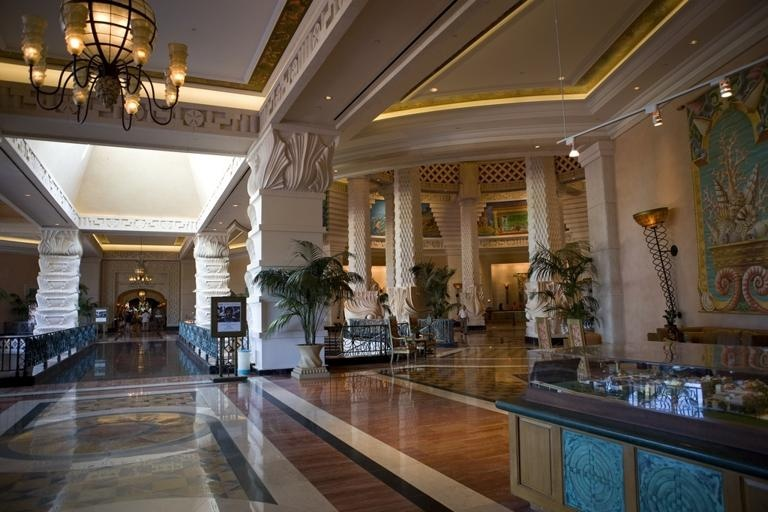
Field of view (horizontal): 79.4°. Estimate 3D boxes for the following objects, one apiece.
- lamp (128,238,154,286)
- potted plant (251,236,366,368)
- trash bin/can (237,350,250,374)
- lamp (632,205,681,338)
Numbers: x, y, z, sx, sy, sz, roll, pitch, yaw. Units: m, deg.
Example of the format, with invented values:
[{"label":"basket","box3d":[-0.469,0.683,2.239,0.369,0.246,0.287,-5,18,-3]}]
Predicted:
[{"label":"lamp","box3d":[-13.004,0.429,24.592,1.131,2.024,3.781,1,-8,-28]},{"label":"potted plant","box3d":[-1.522,0.909,8.915,1.790,2.606,1.037,-2,-7,-7]},{"label":"trash bin/can","box3d":[-2.794,2.105,9.228,0.278,0.493,0.181,3,-9,-39]},{"label":"lamp","box3d":[4.952,0.190,8.465,0.518,2.131,0.798,-2,-7,-2]}]
